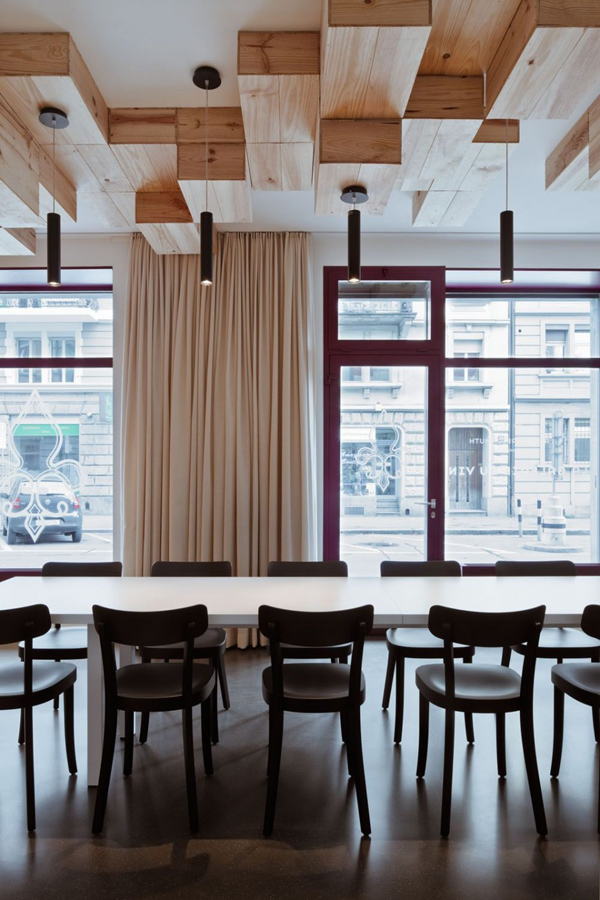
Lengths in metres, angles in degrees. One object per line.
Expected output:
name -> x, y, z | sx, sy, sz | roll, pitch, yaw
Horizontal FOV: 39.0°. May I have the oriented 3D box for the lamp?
lamp -> 0.074, -1.204, 4.178 | 1.920, 0.876, 2.396 | 1, 7, 15
